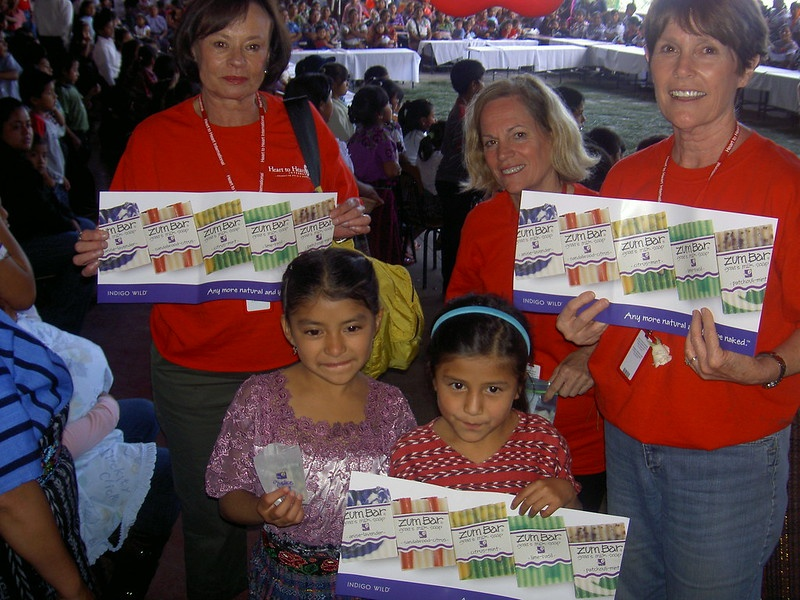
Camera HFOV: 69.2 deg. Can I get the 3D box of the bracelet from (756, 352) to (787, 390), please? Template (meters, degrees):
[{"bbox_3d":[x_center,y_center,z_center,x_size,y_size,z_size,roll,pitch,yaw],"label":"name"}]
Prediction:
[{"bbox_3d":[1.043,0.195,1.630,0.086,0.098,0.030,-2,2,6],"label":"bracelet"}]
